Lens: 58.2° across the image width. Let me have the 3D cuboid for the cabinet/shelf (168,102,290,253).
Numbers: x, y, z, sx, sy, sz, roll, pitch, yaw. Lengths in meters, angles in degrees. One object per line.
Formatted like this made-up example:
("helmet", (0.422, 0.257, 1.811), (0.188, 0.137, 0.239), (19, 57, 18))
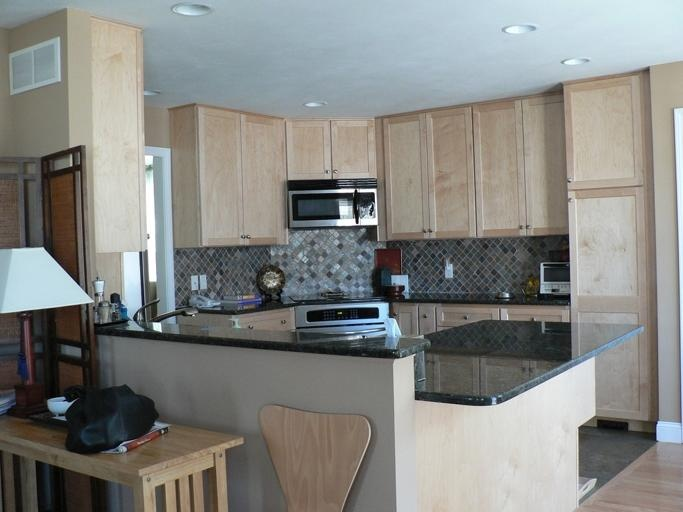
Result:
("cabinet/shelf", (-1.081, -0.753, 5.655), (0.652, 1.551, 1.348), (-2, -1, 40))

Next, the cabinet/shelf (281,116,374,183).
("cabinet/shelf", (-0.090, -1.048, 6.116), (1.050, 0.693, 0.565), (0, 1, -8))

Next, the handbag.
("handbag", (-1.039, 0.738, 2.834), (0.257, 0.134, 0.348), (7, 13, 12))

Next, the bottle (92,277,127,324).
("bottle", (-1.389, 0.279, 3.691), (0.260, 0.284, 0.230), (0, -1, -10))

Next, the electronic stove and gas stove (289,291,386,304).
("electronic stove and gas stove", (-0.076, 0.419, 6.184), (0.982, 0.088, 0.658), (-4, 3, -10))

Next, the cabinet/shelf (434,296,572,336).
("cabinet/shelf", (1.413, 0.549, 5.514), (1.224, 0.266, 0.137), (-2, 4, 29))

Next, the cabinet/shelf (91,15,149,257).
("cabinet/shelf", (-1.389, -0.748, 3.806), (0.381, 1.420, 0.167), (-5, 4, -27))

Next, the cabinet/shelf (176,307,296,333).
("cabinet/shelf", (-0.925, 0.598, 5.510), (1.018, 0.274, 0.540), (-3, 3, -5))

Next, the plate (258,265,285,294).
("plate", (-0.714, 0.243, 6.181), (0.286, 0.294, 0.193), (-4, 3, -9))
